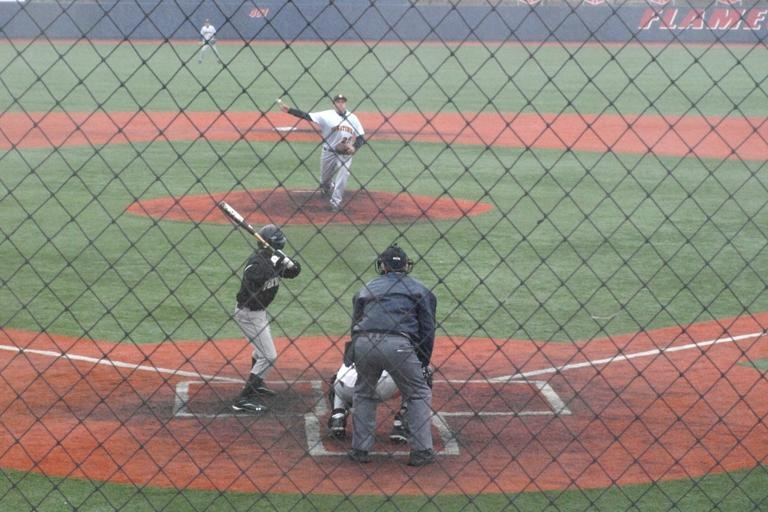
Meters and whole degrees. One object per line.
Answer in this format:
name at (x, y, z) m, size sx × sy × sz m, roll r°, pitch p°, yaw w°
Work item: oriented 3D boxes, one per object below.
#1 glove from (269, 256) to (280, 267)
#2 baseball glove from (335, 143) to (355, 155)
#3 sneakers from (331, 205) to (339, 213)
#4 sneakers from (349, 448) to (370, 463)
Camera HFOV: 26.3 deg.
glove at (-2.113, 0.097, 32.151) m, size 0.051 × 0.158 × 0.198 m, roll 11°, pitch 11°, yaw -47°
baseball glove at (-0.876, -2.475, 37.855) m, size 0.528 × 0.201 × 0.592 m, roll 2°, pitch 3°, yaw -2°
sneakers at (-1.068, -1.085, 38.367) m, size 0.287 × 0.198 × 0.243 m, roll 0°, pitch -2°, yaw 2°
sneakers at (-0.449, 3.904, 31.770) m, size 0.418 × 0.219 × 0.220 m, roll 13°, pitch -2°, yaw 5°
